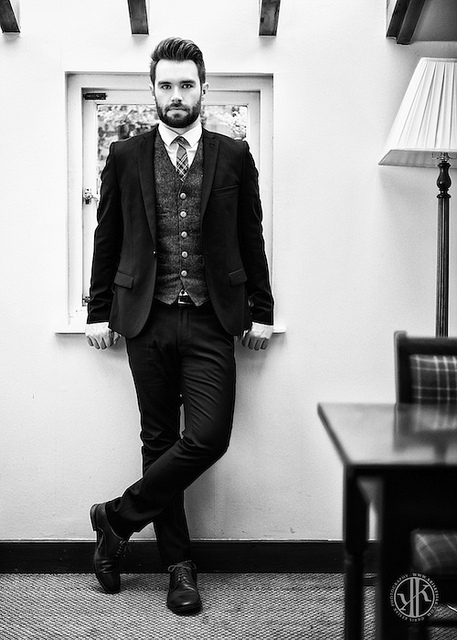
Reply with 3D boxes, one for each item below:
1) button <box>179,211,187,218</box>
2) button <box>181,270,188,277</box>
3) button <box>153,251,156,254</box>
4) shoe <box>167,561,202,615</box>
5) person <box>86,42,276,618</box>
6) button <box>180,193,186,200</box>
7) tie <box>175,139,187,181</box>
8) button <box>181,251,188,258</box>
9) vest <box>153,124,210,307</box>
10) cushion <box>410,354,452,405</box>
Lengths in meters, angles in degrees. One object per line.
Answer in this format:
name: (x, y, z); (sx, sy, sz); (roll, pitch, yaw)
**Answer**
button: (-0.139, -0.325, 1.924); (0.023, 0.019, 0.009); (0, 0, -7)
button: (-0.136, -0.144, 1.942); (0.021, 0.021, 0.013); (0, 0, -14)
button: (-0.228, -0.208, 1.936); (0.002, 0.007, 0.005); (-2, -19, 46)
shoe: (-0.141, 0.864, 2.019); (0.111, 0.125, 0.152); (0, 0, -8)
person: (-0.150, 0.044, 2.059); (0.612, 1.771, 0.351); (0, 0, -12)
button: (-0.141, -0.380, 1.921); (0.019, 0.021, 0.005); (0, 3, -24)
tie: (-0.146, -0.504, 1.950); (0.033, 0.124, 0.026); (0, 0, -8)
button: (-0.137, -0.202, 1.933); (0.016, 0.017, 0.004); (-7, 10, -5)
vest: (-0.147, -0.311, 1.956); (0.169, 0.522, 0.078); (0, 0, -7)
cushion: (0.547, 0.161, 1.691); (0.112, 0.126, 0.048); (0, 0, 10)
